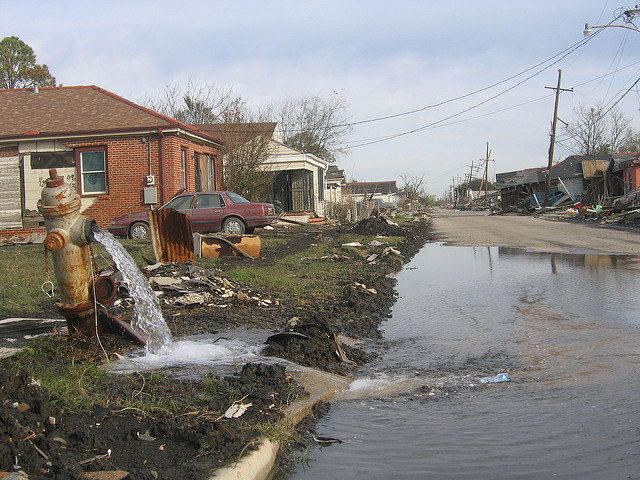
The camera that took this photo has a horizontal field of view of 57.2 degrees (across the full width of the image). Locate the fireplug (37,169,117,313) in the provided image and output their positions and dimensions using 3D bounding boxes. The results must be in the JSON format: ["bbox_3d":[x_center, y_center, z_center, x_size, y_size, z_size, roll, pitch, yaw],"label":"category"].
[{"bbox_3d":[-2.989,0.182,7.063,0.835,1.924,0.890,-8,11,-13],"label":"fireplug"}]

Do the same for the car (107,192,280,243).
[{"bbox_3d":[-3.870,-0.750,19.163,4.930,1.739,0.990,5,8,-11],"label":"car"}]
